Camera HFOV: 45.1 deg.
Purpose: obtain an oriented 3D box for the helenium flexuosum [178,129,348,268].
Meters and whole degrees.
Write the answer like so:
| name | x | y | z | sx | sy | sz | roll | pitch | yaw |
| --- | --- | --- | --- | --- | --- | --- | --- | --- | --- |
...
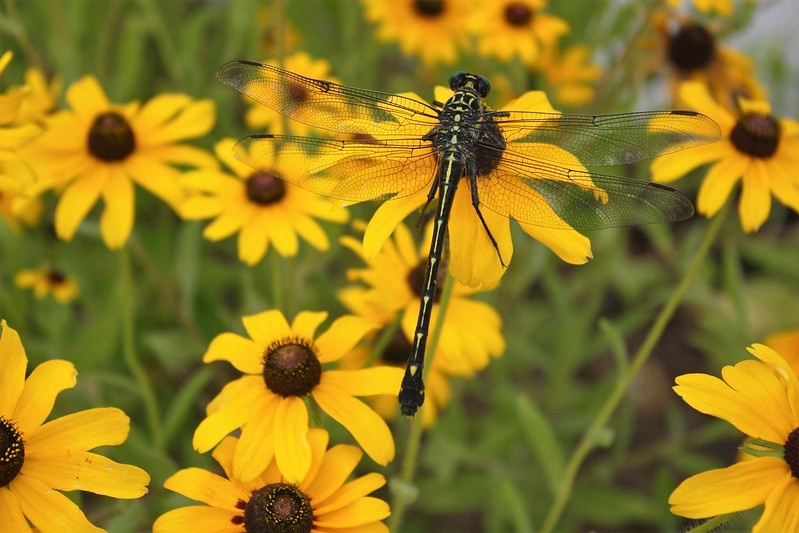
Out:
| name | x | y | z | sx | sy | sz | roll | pitch | yaw |
| --- | --- | --- | --- | --- | --- | --- | --- | --- | --- |
| helenium flexuosum | -0.370 | -0.203 | 2.621 | 0.480 | 0.570 | 0.087 | 17 | -42 | 10 |

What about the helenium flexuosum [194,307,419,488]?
| name | x | y | z | sx | sy | sz | roll | pitch | yaw |
| --- | --- | --- | --- | --- | --- | --- | --- | --- | --- |
| helenium flexuosum | -0.236 | 0.312 | 2.247 | 0.406 | 0.402 | 0.203 | -44 | -19 | -17 |
